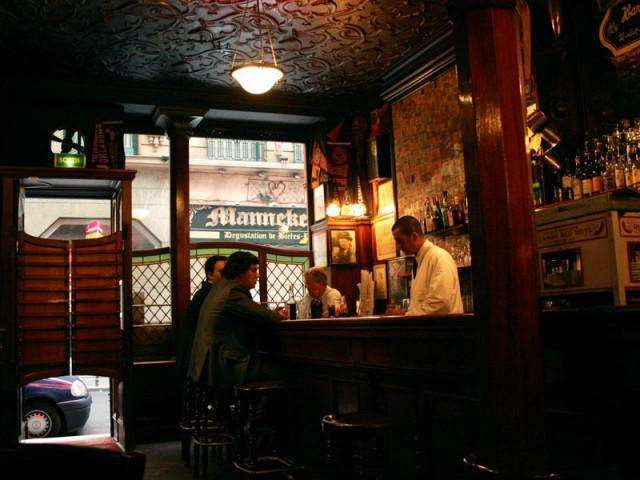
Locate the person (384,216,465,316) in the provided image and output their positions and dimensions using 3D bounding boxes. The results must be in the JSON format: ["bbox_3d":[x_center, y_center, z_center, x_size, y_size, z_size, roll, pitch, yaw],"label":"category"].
[{"bbox_3d":[0.904,0.248,5.095,0.715,0.882,1.102,0,-7,8],"label":"person"}]

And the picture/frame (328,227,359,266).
[{"bbox_3d":[0.312,0.091,8.763,0.573,0.670,0.088,1,-8,-11],"label":"picture/frame"}]
